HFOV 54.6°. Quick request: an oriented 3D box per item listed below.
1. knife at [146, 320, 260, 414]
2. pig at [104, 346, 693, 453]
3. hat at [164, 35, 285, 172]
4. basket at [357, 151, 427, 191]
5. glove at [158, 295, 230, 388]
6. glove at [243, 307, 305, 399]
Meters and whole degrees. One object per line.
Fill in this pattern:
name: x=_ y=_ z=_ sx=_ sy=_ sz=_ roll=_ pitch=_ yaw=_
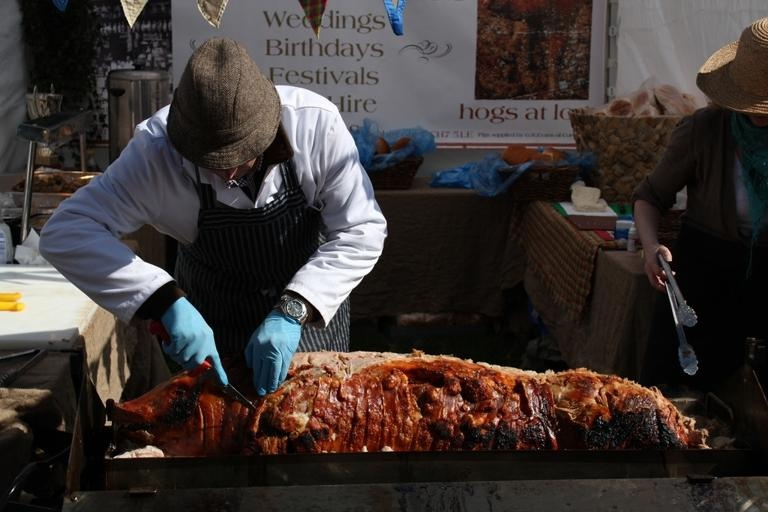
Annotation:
knife: x=-0.758 y=0.475 z=3.164 sx=0.357 sy=0.424 sz=0.439 roll=-10 pitch=18 yaw=-34
pig: x=0.094 y=0.748 z=3.421 sx=2.728 sy=0.556 sz=0.727 roll=1 pitch=-14 yaw=-7
hat: x=-0.647 y=-0.617 z=3.023 sx=0.463 sy=0.505 sz=0.262 roll=-6 pitch=20 yaw=-18
basket: x=0.042 y=-0.620 z=5.396 sx=0.397 sy=0.281 sz=0.522 roll=-1 pitch=6 yaw=-2
glove: x=-0.805 y=0.321 z=3.152 sx=0.265 sy=0.351 sz=0.325 roll=-9 pitch=19 yaw=-28
glove: x=-0.462 y=0.394 z=3.150 sx=0.206 sy=0.354 sz=0.235 roll=-5 pitch=18 yaw=-11
